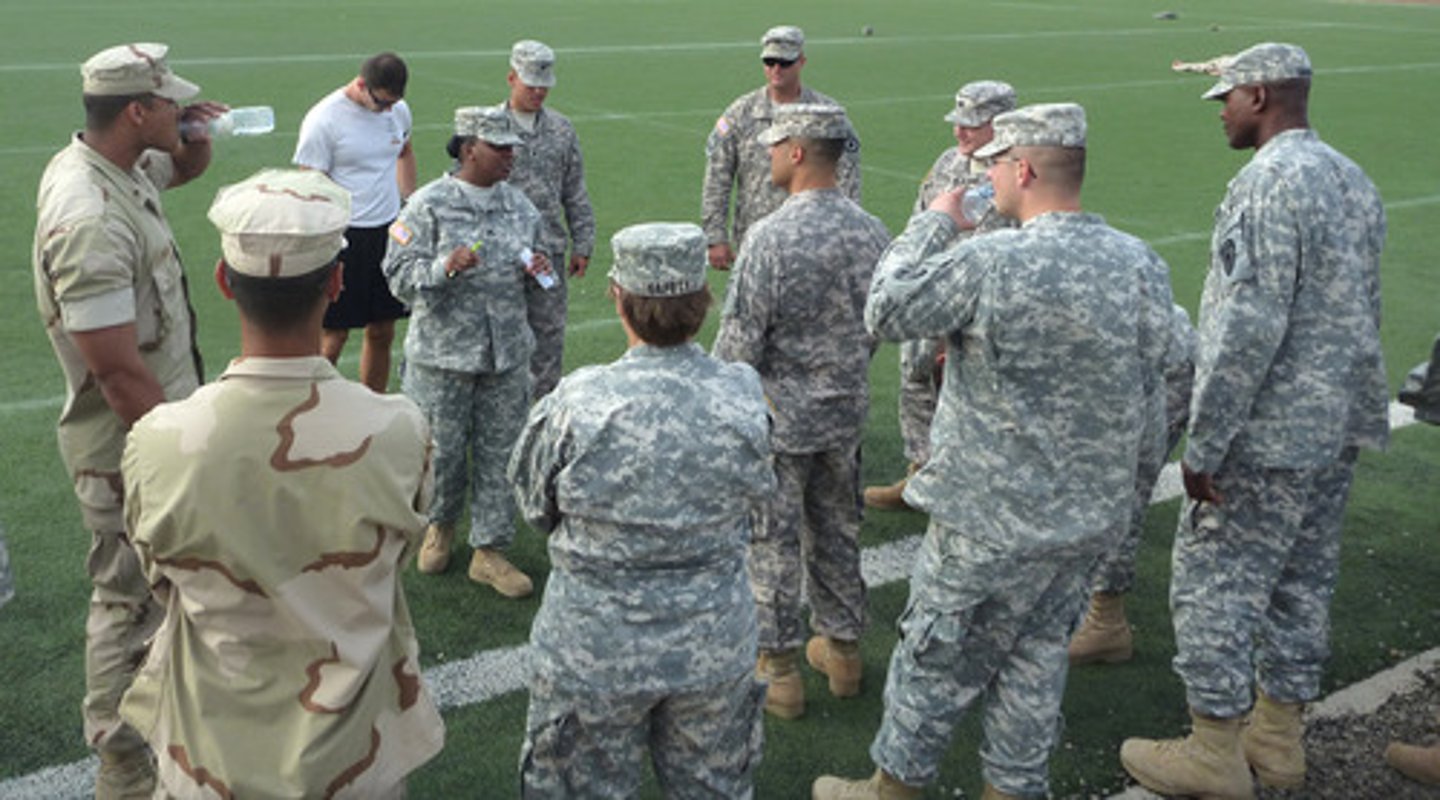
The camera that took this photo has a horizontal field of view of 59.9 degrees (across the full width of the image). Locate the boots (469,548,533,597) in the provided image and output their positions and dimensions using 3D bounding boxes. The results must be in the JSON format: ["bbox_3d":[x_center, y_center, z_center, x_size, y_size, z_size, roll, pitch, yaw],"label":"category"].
[{"bbox_3d":[-1.433,1.137,8.113,0.557,0.221,0.206,15,35,23],"label":"boots"}]

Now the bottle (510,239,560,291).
[{"bbox_3d":[-1.185,-0.840,8.062,0.077,0.279,0.253,-25,59,3],"label":"bottle"}]

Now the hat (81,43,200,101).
[{"bbox_3d":[-3.140,-1.722,6.752,0.613,0.195,0.359,-6,27,-27],"label":"hat"}]

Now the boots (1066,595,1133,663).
[{"bbox_3d":[2.287,1.423,7.810,0.575,0.414,0.225,-2,0,-23],"label":"boots"}]

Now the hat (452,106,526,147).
[{"bbox_3d":[-1.510,-1.736,7.922,0.403,0.128,0.275,14,20,14],"label":"hat"}]

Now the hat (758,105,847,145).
[{"bbox_3d":[0.461,-1.569,7.171,0.402,0.114,0.252,-1,11,26],"label":"hat"}]

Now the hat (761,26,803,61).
[{"bbox_3d":[0.482,-2.809,9.882,0.421,0.208,0.503,2,7,10],"label":"hat"}]

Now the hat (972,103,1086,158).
[{"bbox_3d":[1.604,-1.364,6.398,0.464,0.146,0.280,2,10,20],"label":"hat"}]

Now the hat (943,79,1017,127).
[{"bbox_3d":[1.894,-2.018,8.525,0.696,0.257,0.427,-11,20,-21],"label":"hat"}]

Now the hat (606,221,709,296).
[{"bbox_3d":[-0.298,-0.703,6.150,0.403,0.201,0.421,1,21,-2],"label":"hat"}]

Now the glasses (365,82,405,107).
[{"bbox_3d":[-2.581,-2.280,9.500,0.187,0.053,0.193,38,31,27],"label":"glasses"}]

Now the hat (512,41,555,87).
[{"bbox_3d":[-1.404,-2.497,9.353,0.372,0.206,0.424,-6,40,-26],"label":"hat"}]
